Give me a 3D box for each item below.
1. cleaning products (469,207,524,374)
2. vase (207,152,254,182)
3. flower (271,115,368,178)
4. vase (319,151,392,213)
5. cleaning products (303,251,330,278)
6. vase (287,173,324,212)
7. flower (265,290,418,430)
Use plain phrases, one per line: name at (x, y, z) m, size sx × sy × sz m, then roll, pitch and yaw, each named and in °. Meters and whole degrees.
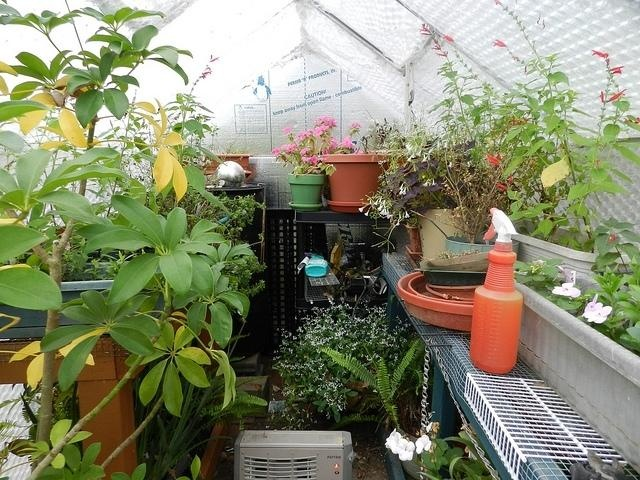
cleaning products at (0.494, 0.145, 1.223) m, size 0.130 × 0.437 × 0.178 m, roll -2°, pitch 9°, yaw -27°
vase at (-0.640, -0.484, 3.013) m, size 0.234 × 0.206 × 0.507 m, roll 3°, pitch 12°, yaw 22°
flower at (0.003, -0.529, 2.523) m, size 0.524 × 0.371 × 0.409 m, roll -2°, pitch 22°, yaw 3°
vase at (0.146, -0.269, 2.383) m, size 0.283 × 0.221 × 0.277 m, roll 3°, pitch 2°, yaw -20°
cleaning products at (-0.020, 0.159, 2.701) m, size 0.180 × 0.132 × 0.160 m, roll -4°, pitch 12°, yaw -10°
vase at (-0.065, -0.273, 2.534) m, size 0.249 × 0.211 × 0.252 m, roll 4°, pitch 6°, yaw 25°
flower at (0.171, 0.616, 2.199) m, size 0.623 × 0.314 × 0.624 m, roll -4°, pitch 41°, yaw 5°
